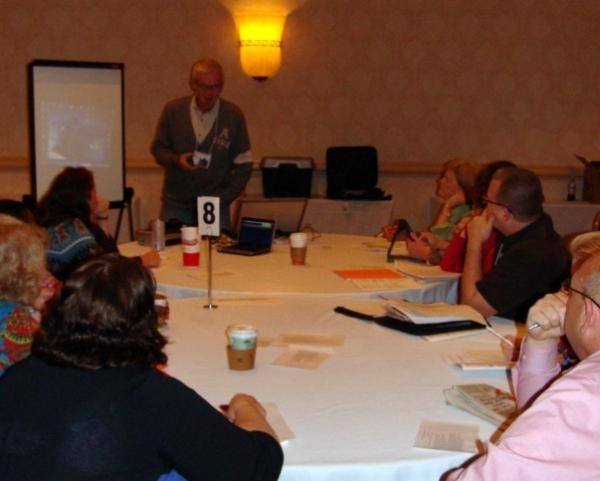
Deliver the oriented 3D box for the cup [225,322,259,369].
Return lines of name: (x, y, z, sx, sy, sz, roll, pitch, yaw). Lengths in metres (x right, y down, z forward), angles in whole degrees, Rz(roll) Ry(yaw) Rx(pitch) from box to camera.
cup: (-0.167, 0.312, 1.508, 0.111, 0.116, 0.108, 2, 10, 0)

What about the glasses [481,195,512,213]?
glasses: (0.929, -0.181, 2.412, 0.097, 0.030, 0.100, 1, 23, -32)

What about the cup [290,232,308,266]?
cup: (-0.014, 0.043, 2.843, 0.143, 0.221, 0.146, 1, 3, 0)

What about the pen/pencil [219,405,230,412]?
pen/pencil: (-0.185, 0.413, 1.242, 0.022, 0.006, 0.021, 1, 18, 3)
